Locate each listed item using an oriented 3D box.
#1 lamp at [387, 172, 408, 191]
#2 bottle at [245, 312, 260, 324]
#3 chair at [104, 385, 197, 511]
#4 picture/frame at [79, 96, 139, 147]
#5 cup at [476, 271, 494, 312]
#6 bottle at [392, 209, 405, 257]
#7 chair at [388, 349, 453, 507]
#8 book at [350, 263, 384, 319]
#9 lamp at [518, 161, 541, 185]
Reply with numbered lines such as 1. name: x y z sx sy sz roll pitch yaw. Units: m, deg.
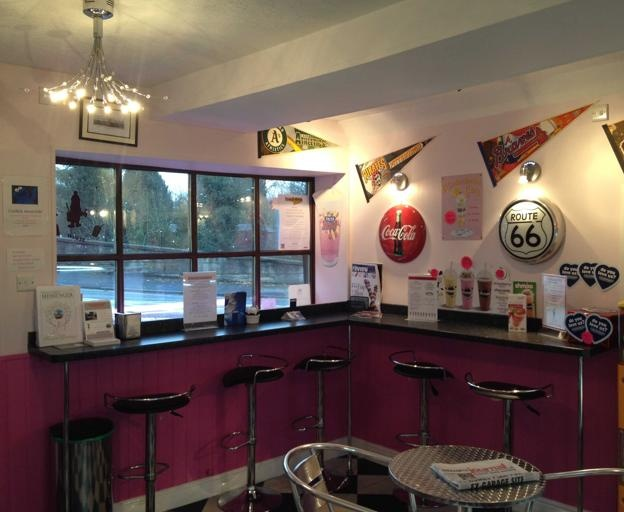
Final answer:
1. lamp: 0.829 -0.701 4.825 0.039 0.163 0.159 -2 16 -44
2. bottle: -0.512 0.535 4.428 0.088 0.059 0.083 -2 3 0
3. chair: -1.130 1.378 3.482 0.493 0.965 0.631 -1 -1 -27
4. picture/frame: -1.469 -0.958 3.654 0.498 0.365 0.021 0 3 -35
5. cup: 1.464 0.215 4.344 0.147 0.477 0.148 0 0 0
6. bottle: 0.814 -0.218 4.876 0.022 0.438 0.124 -1 -1 -41
7. chair: 0.870 1.236 4.031 0.413 0.779 0.433 6 -12 -26
8. book: 0.550 0.344 5.033 0.069 0.615 0.470 4 -3 -44
9. lamp: 1.704 -0.649 4.009 0.107 0.186 0.182 5 -1 -37
